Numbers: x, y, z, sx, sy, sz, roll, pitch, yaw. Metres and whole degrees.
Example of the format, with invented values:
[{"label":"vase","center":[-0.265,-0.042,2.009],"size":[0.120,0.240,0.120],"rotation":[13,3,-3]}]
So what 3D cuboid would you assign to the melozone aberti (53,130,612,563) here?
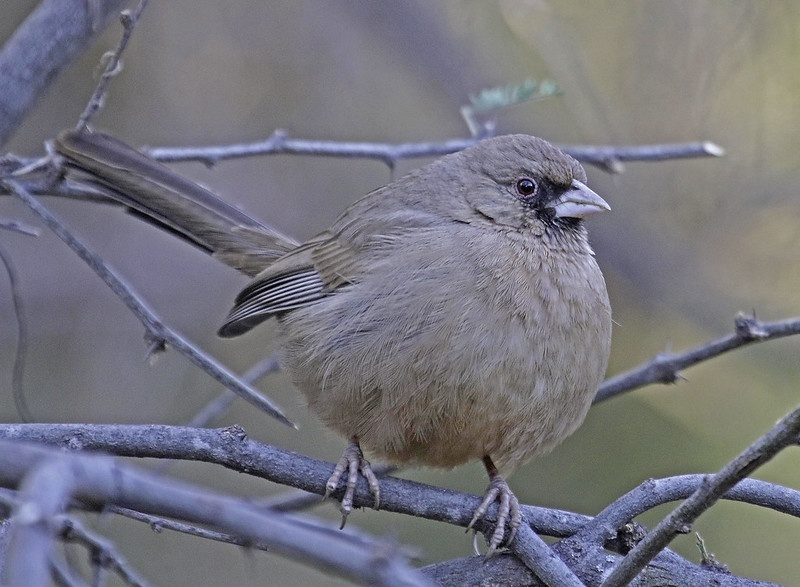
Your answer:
[{"label":"melozone aberti","center":[0.290,0.091,4.943],"size":[3.224,2.007,1.490],"rotation":[14,1,30]}]
